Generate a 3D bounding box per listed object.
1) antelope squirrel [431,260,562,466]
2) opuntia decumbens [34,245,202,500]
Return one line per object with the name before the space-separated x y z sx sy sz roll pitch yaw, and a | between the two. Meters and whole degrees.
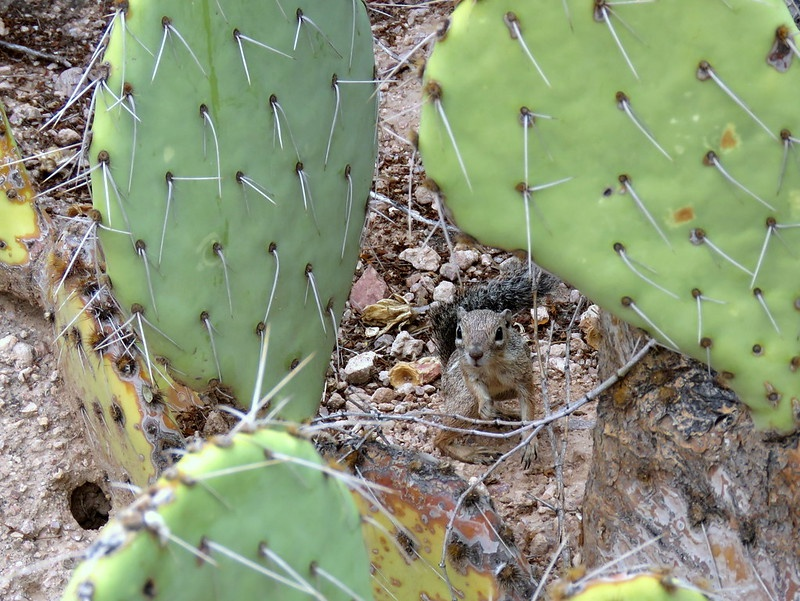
antelope squirrel | 0.448 0.251 5.028 0.493 0.965 0.621 -3 18 -4
opuntia decumbens | -1.040 0.301 3.878 0.624 1.046 0.238 -18 11 38
